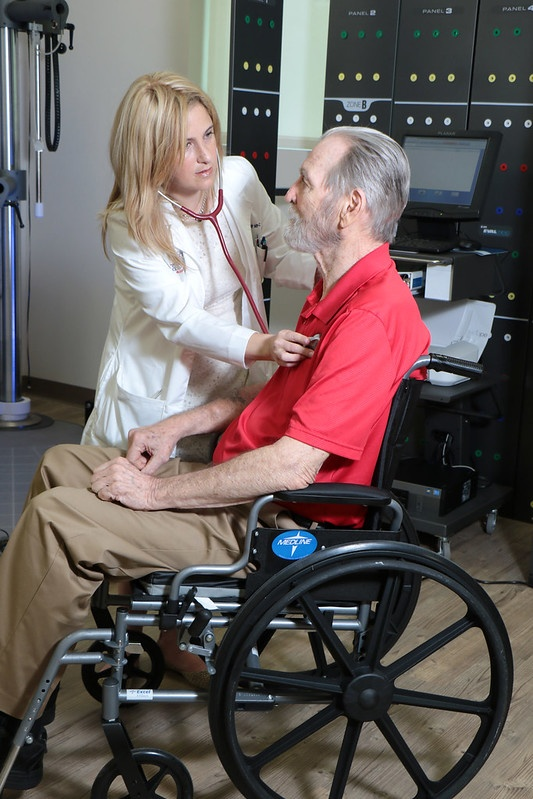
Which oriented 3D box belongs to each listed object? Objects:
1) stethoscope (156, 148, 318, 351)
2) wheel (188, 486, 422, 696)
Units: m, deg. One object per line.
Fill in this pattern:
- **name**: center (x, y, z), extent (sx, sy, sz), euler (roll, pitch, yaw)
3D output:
- **stethoscope**: center (-0.045, -0.297, 1.546), extent (0.211, 0.689, 0.029), euler (-36, 27, 3)
- **wheel**: center (0.081, 0.276, 1.137), extent (0.408, 0.467, 0.329), euler (3, 1, -2)
